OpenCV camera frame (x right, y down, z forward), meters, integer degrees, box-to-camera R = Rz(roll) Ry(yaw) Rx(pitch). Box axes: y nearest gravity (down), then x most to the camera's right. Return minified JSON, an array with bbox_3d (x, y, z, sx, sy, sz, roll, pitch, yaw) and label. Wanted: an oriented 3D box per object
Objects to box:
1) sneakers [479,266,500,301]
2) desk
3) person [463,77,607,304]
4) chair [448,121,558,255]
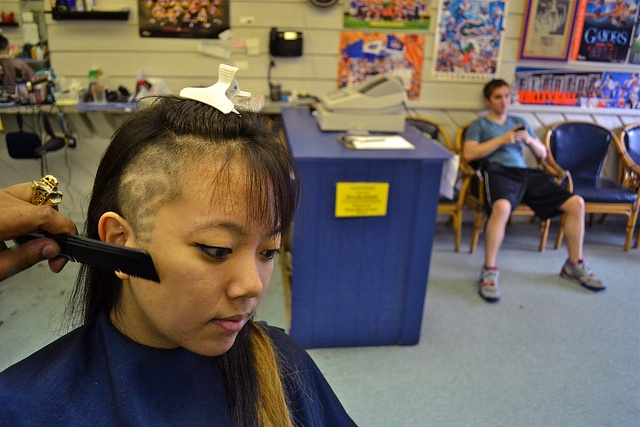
[{"bbox_3d":[1.295,0.514,3.568,0.154,0.188,0.433,-2,14,15],"label":"sneakers"},{"bbox_3d":[0.277,0.165,3.430,1.111,1.364,1.841,0,19,-2],"label":"desk"},{"bbox_3d":[1.716,-0.289,3.870,0.995,1.579,1.332,0,17,-1],"label":"person"},{"bbox_3d":[1.815,-0.171,4.181,0.778,1.093,0.752,7,5,16],"label":"chair"}]
